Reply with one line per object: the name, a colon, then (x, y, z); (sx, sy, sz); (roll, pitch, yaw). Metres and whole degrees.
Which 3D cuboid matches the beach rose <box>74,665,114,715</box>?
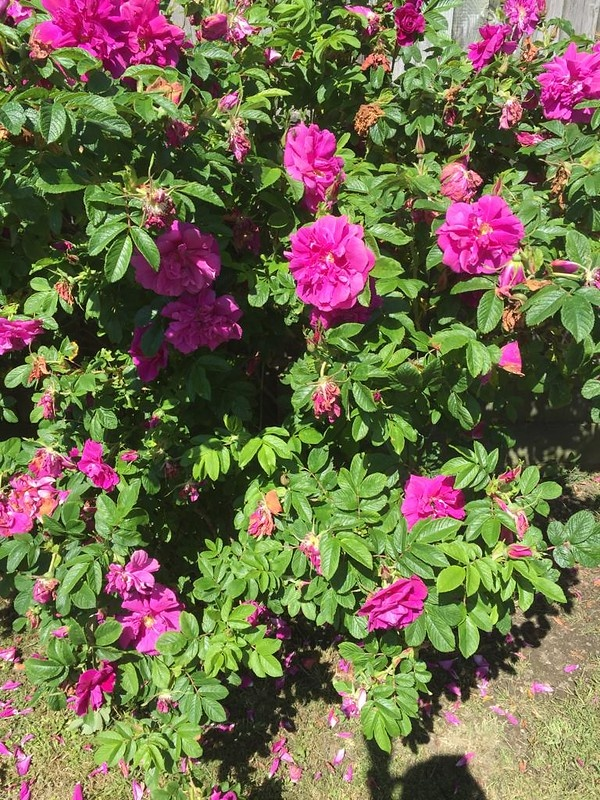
beach rose: (-0.625, 0.856, 2.241); (0.071, 0.131, 0.140); (-2, 16, 11)
